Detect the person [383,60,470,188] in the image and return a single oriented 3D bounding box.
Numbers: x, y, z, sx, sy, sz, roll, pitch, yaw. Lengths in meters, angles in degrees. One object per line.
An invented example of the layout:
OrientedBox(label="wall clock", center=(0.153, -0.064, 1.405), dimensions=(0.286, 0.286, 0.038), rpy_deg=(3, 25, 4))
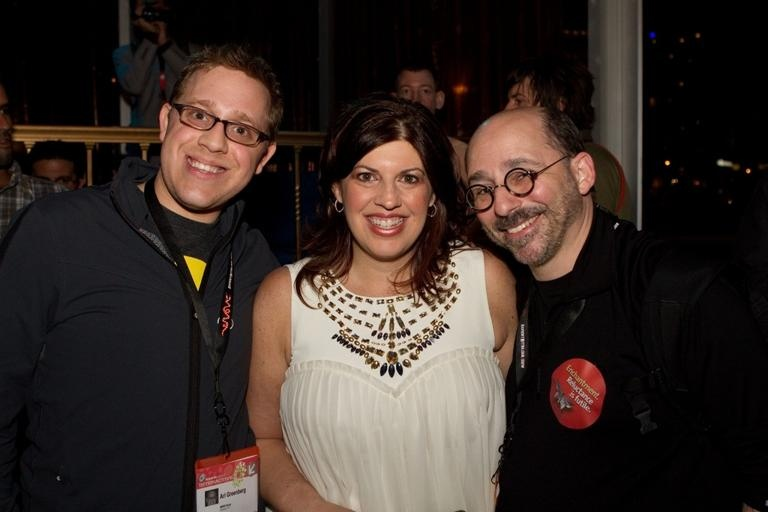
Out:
OrientedBox(label="person", center=(0.331, -1.179, 6.000), dimensions=(1.077, 1.220, 0.518), rpy_deg=(-3, -9, 12))
